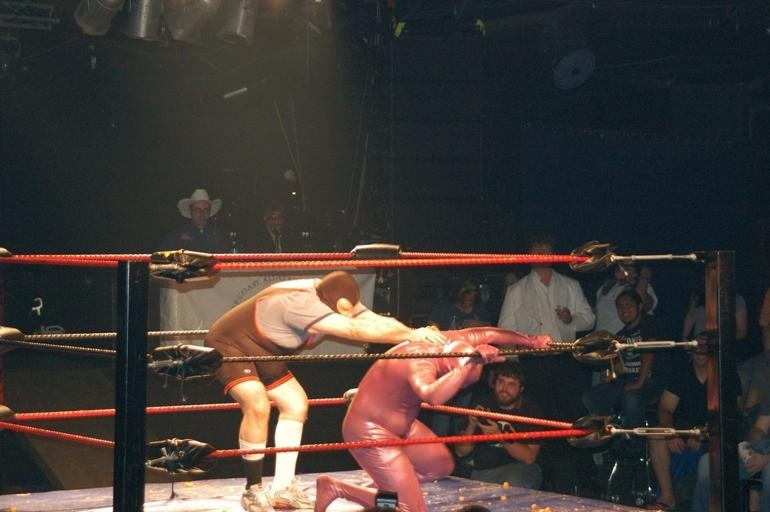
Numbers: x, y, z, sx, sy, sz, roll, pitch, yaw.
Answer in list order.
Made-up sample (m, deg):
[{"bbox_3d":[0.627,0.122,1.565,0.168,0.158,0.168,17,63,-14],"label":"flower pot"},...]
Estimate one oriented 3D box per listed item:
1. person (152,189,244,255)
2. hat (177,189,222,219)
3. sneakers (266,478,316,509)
[{"bbox_3d":[-2.008,-0.394,13.370,0.734,0.884,1.021,4,-11,-8],"label":"person"},{"bbox_3d":[-2.081,-0.591,13.728,0.373,0.147,0.372,5,-25,-19],"label":"hat"},{"bbox_3d":[-0.908,2.087,11.011,0.557,0.230,0.178,9,-7,-6],"label":"sneakers"}]
